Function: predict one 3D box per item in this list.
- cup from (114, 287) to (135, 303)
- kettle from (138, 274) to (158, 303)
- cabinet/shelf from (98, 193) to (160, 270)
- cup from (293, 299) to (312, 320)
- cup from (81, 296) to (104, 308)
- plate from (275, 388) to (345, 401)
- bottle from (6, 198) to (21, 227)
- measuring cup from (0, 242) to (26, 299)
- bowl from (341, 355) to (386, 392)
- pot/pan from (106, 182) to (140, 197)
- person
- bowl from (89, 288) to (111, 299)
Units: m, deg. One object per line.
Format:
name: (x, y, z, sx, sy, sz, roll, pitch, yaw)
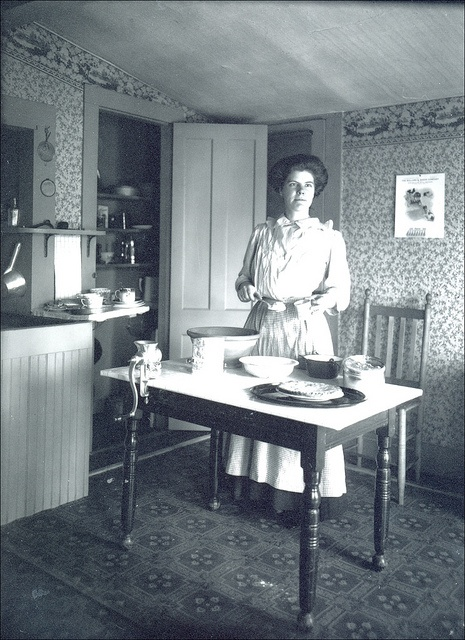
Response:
cup: (-0.593, -0.134, 3.137, 0.107, 0.077, 0.082, -1, 3, -14)
kettle: (-0.625, -0.222, 4.257, 0.206, 0.219, 0.135, 2, 2, 15)
cabinet/shelf: (-0.737, -0.683, 4.265, 0.589, 0.595, 0.193, 5, 7, 30)
cup: (0.289, -0.042, 2.337, 0.068, 0.087, 0.102, 2, 3, 6)
cup: (-0.733, -0.096, 2.930, 0.079, 0.054, 0.061, -5, 10, -31)
plate: (0.232, 0.220, 1.663, 0.197, 0.025, 0.117, 2, 3, 5)
bottle: (-1.118, -0.551, 2.900, 0.051, 0.171, 0.191, 0, 3, -20)
measuring cup: (-1.088, -0.254, 2.828, 0.098, 0.287, 0.433, 0, 3, -20)
bowl: (0.433, 0.166, 1.861, 0.116, 0.074, 0.118, 1, 3, 0)
pot/pan: (-0.812, -0.941, 4.153, 0.174, 0.060, 0.178, 0, 4, -1)
person: (0.266, 0.019, 2.641, 0.556, 1.496, 0.469, 14, 28, 33)
bowl: (-0.713, -0.143, 3.103, 0.075, 0.045, 0.066, -3, 4, -34)
